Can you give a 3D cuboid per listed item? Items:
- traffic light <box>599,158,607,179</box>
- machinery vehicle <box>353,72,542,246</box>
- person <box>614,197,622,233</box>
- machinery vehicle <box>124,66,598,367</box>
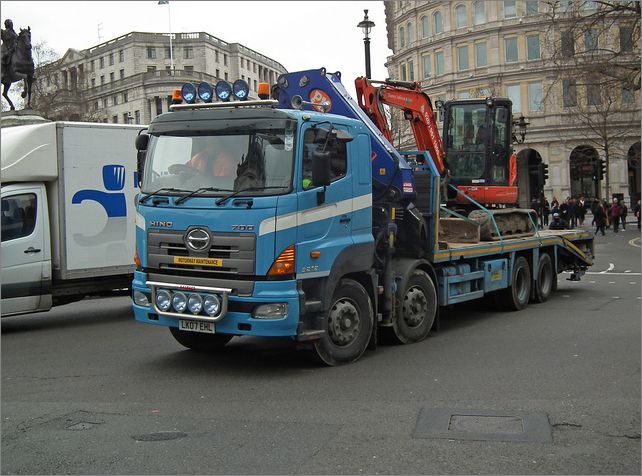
[{"bbox_3d":[18.201,-4.433,37.711,0.477,1.436,3.902,1,7,26],"label":"traffic light"},{"bbox_3d":[2.833,-1.786,13.640,4.613,3.670,1.882,-5,3,-36],"label":"machinery vehicle"},{"bbox_3d":[18.474,-1.371,36.421,0.494,2.083,1.032,1,6,24],"label":"person"},{"bbox_3d":[1.466,-0.495,12.246,3.777,5.075,11.135,-1,0,34],"label":"machinery vehicle"}]
